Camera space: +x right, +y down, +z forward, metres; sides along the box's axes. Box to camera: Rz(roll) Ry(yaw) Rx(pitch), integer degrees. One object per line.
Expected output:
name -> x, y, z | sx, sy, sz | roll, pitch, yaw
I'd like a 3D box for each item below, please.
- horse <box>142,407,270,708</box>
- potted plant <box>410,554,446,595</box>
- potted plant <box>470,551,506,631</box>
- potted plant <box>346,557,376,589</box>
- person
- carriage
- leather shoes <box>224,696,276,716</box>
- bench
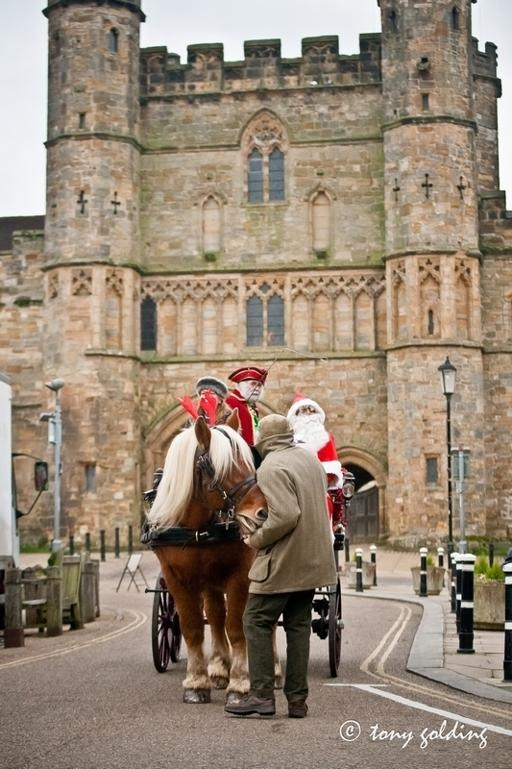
horse -> -0.346, 1.280, 9.968 | 0.814, 1.954, 2.537 | -7, -7, -4
potted plant -> 2.722, 2.991, 21.630 | 0.473, 0.419, 0.484 | 11, -15, -37
potted plant -> 2.443, 2.244, 14.656 | 0.306, 0.691, 1.162 | -1, -7, 9
potted plant -> 1.769, 3.195, 23.512 | 0.503, 0.511, 0.448 | 0, -10, -5
person -> 0.167, 1.117, 8.766 | 0.484, 1.924, 0.582 | -4, -7, 31
carriage -> -0.340, 1.294, 10.168 | 0.901, 2.180, 2.745 | -1, -13, 0
leather shoes -> -0.045, 2.005, 8.658 | 0.335, 0.133, 0.175 | -2, -7, 13
bench -> -2.299, 2.399, 15.909 | 0.799, 0.885, 0.839 | 0, -4, -26
